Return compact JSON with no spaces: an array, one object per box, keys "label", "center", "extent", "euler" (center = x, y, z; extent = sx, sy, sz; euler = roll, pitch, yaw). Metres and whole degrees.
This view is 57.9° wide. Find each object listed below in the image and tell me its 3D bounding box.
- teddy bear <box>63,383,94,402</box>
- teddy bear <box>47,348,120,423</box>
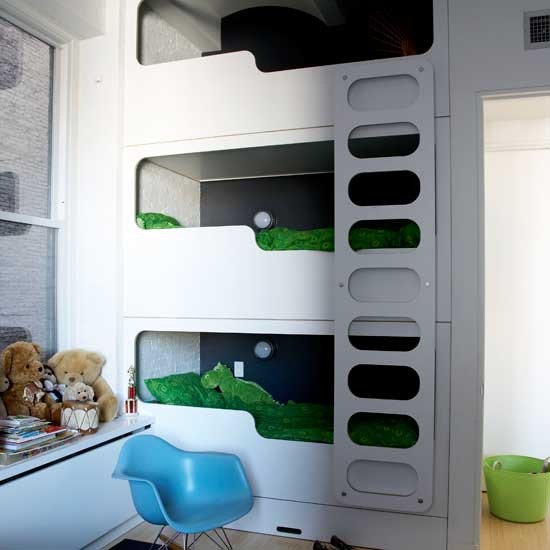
[{"label":"teddy bear","center":[-0.942,0.548,2.354],"extent":[0.133,0.080,0.149],"euler":[1,-2,-29]},{"label":"teddy bear","center":[-0.984,0.539,2.506],"extent":[0.298,0.384,0.266],"euler":[0,11,-11]}]
